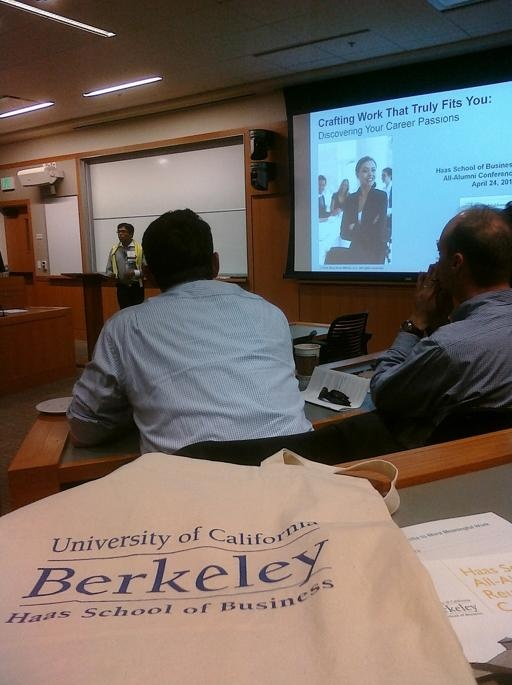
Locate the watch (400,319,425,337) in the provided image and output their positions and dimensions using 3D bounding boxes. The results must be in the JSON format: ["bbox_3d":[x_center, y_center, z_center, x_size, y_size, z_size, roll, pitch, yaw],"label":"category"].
[{"bbox_3d":[0.455,-0.027,1.517,0.063,0.036,0.044,29,29,4],"label":"watch"}]

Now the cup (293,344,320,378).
[{"bbox_3d":[0.160,0.065,1.758,0.103,0.100,0.100,0,1,0],"label":"cup"}]
